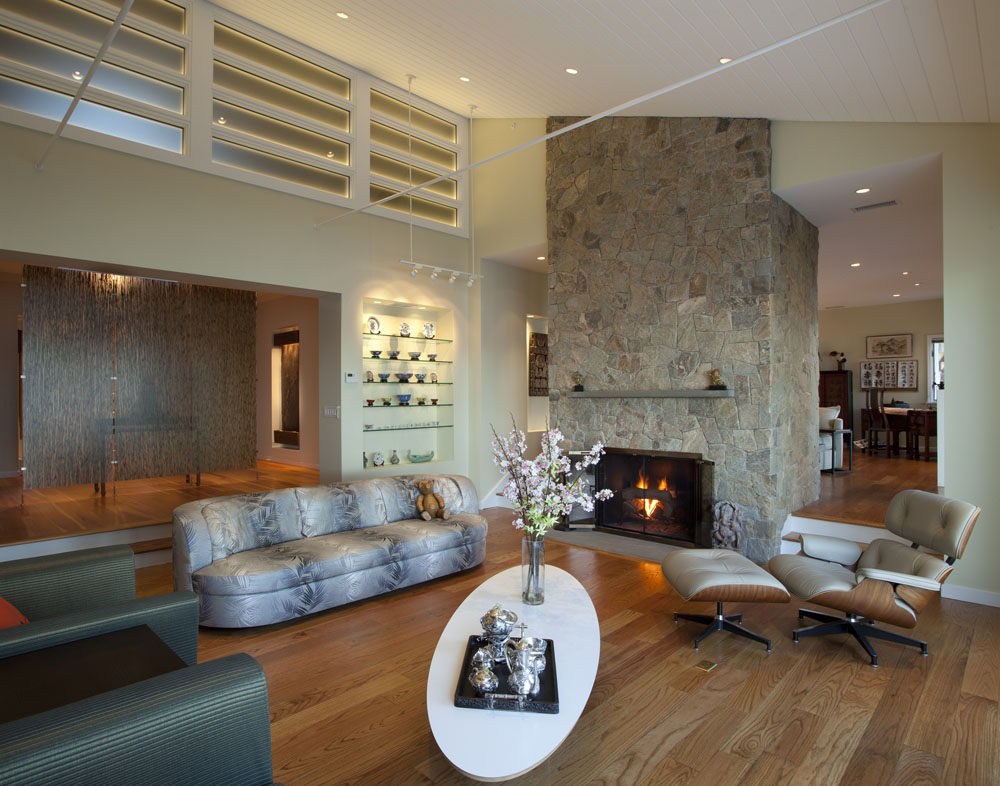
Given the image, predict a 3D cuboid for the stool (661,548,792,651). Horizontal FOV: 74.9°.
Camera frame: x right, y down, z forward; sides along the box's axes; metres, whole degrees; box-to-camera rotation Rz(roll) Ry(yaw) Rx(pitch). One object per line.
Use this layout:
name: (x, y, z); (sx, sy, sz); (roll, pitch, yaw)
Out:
stool: (1.599, 1.463, 4.569); (0.558, 0.401, 0.801); (7, -5, 1)

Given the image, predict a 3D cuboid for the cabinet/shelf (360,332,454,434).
cabinet/shelf: (-1.183, -0.133, 7.975); (1.266, 1.117, 0.282); (2, -4, -43)

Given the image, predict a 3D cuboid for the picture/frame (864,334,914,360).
picture/frame: (7.617, -0.895, 12.649); (0.036, 0.392, 0.543); (4, -2, -33)

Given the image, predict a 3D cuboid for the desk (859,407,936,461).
desk: (6.943, 0.712, 11.280); (0.299, 0.545, 0.841); (-2, 3, -21)

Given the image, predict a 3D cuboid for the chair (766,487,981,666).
chair: (2.543, 1.202, 4.532); (1.222, 1.040, 1.016); (2, 3, -19)
